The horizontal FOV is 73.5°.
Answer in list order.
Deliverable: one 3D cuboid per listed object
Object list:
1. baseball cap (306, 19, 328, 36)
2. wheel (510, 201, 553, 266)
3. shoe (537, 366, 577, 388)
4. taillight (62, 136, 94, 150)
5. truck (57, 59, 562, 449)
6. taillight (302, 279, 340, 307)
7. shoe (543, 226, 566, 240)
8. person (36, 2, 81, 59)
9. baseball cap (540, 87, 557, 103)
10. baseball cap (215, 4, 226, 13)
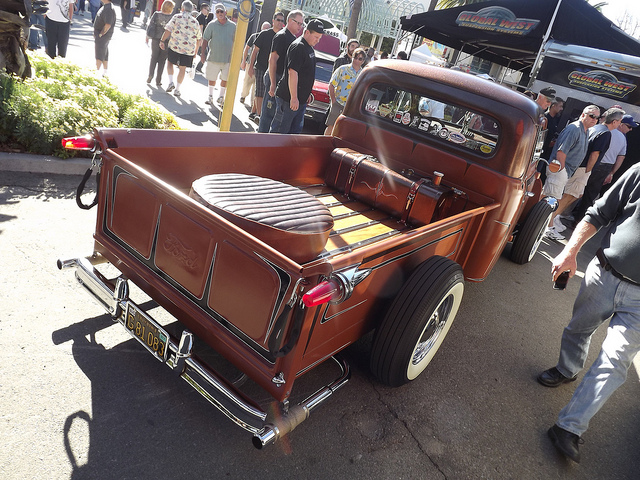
[{"bbox_3d":[-0.040,-3.201,6.481,0.253,0.155,0.190,12,30,-12],"label":"baseball cap"},{"bbox_3d":[2.942,-0.075,6.004,0.489,0.537,0.466,-1,57,1],"label":"wheel"},{"bbox_3d":[2.273,1.317,4.138,0.350,0.177,0.171,7,28,-10],"label":"shoe"},{"bbox_3d":[-1.673,-0.676,2.968,0.157,0.070,0.101,-2,-1,-4],"label":"taillight"},{"bbox_3d":[0.489,-0.417,4.452,2.811,2.433,4.846,31,33,34],"label":"truck"},{"bbox_3d":[0.008,0.290,2.287,0.188,0.117,0.116,-15,78,-51],"label":"taillight"},{"bbox_3d":[4.258,-0.107,7.803,0.358,0.181,0.132,11,24,32],"label":"shoe"},{"bbox_3d":[-5.104,-4.102,8.385,0.477,1.064,0.612,-14,35,-40],"label":"person"},{"bbox_3d":[4.051,-2.553,7.541,0.295,0.205,0.235,25,20,-3],"label":"baseball cap"},{"bbox_3d":[-2.132,-4.924,9.131,0.184,0.165,0.289,2,30,-18],"label":"baseball cap"}]
